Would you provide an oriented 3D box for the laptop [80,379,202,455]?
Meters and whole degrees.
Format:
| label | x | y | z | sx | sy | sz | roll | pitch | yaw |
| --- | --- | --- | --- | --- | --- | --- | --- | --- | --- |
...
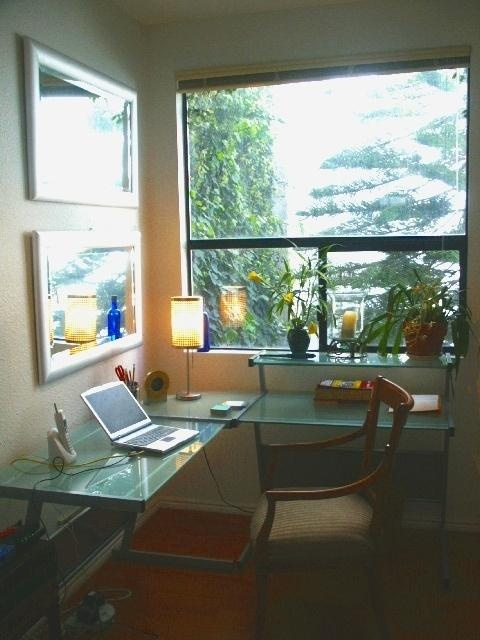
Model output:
| label | x | y | z | sx | sy | sz | roll | pitch | yaw |
| --- | --- | --- | --- | --- | --- | --- | --- | --- | --- |
| laptop | -0.333 | 0.325 | 1.831 | 0.331 | 0.153 | 0.273 | 8 | 7 | 27 |

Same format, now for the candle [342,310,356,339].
| label | x | y | z | sx | sy | sz | roll | pitch | yaw |
| --- | --- | --- | --- | --- | --- | --- | --- | --- | --- |
| candle | 0.461 | 0.019 | 2.278 | 0.060 | 0.109 | 0.087 | 0 | 6 | 9 |

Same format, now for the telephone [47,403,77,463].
| label | x | y | z | sx | sy | sz | roll | pitch | yaw |
| --- | --- | --- | --- | --- | --- | --- | --- | --- | --- |
| telephone | -0.535 | 0.347 | 1.618 | 0.081 | 0.167 | 0.088 | 10 | 17 | 31 |

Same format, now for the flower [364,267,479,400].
| label | x | y | z | sx | sy | sz | roll | pitch | yaw |
| --- | --- | --- | --- | --- | --- | --- | --- | --- | --- |
| flower | 0.739 | 0.019 | 2.190 | 0.383 | 0.295 | 0.392 | 0 | 5 | 29 |

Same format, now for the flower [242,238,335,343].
| label | x | y | z | sx | sy | sz | roll | pitch | yaw |
| --- | --- | --- | --- | --- | --- | --- | --- | --- | --- |
| flower | 0.232 | -0.081 | 2.457 | 0.427 | 0.407 | 0.322 | 8 | -15 | -15 |

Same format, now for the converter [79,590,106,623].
| label | x | y | z | sx | sy | sz | roll | pitch | yaw |
| --- | --- | --- | --- | --- | --- | --- | --- | --- | --- |
| converter | -0.415 | 0.811 | 1.547 | 0.071 | 0.081 | 0.079 | 7 | -6 | -7 |

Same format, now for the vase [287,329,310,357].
| label | x | y | z | sx | sy | sz | roll | pitch | yaw |
| --- | --- | --- | --- | --- | --- | --- | --- | --- | --- |
| vase | 0.256 | 0.095 | 2.328 | 0.105 | 0.127 | 0.110 | -3 | 1 | 22 |

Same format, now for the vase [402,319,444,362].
| label | x | y | z | sx | sy | sz | roll | pitch | yaw |
| --- | --- | --- | --- | --- | --- | --- | --- | --- | --- |
| vase | 0.717 | 0.086 | 2.130 | 0.152 | 0.129 | 0.144 | -1 | 3 | 9 |

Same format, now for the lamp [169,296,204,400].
| label | x | y | z | sx | sy | sz | roll | pitch | yaw |
| --- | --- | --- | --- | --- | --- | --- | --- | --- | --- |
| lamp | -0.229 | 0.121 | 2.383 | 0.134 | 0.464 | 0.134 | -3 | 8 | -18 |
